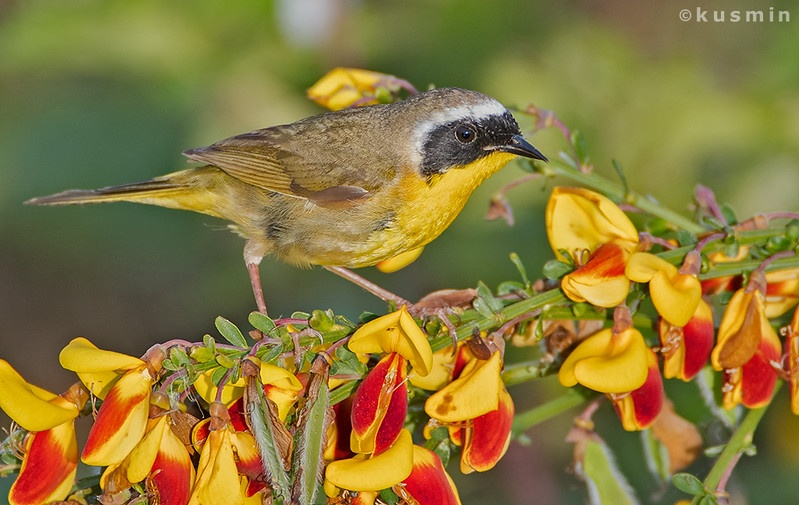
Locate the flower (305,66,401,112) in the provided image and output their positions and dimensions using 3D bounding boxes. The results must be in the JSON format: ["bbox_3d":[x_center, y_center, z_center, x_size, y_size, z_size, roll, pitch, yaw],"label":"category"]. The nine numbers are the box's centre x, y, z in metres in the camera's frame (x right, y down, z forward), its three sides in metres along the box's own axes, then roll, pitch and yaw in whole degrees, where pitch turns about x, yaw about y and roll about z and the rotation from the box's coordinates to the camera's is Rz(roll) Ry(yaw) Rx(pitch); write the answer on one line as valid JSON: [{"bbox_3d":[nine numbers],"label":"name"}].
[{"bbox_3d":[-0.183,-0.627,3.579,0.285,0.094,0.157,5,46,22],"label":"flower"}]

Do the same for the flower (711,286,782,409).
[{"bbox_3d":[1.065,0.324,2.897,0.190,0.431,0.162,-4,31,22],"label":"flower"}]

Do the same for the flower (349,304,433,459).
[{"bbox_3d":[-0.026,0.375,2.829,0.261,0.426,0.132,13,1,15],"label":"flower"}]

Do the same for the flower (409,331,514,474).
[{"bbox_3d":[0.241,0.445,2.881,0.288,0.403,0.232,18,-18,-24],"label":"flower"}]

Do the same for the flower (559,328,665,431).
[{"bbox_3d":[0.639,0.386,2.851,0.283,0.276,0.189,-7,29,15],"label":"flower"}]

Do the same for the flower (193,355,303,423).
[{"bbox_3d":[-0.481,0.378,2.827,0.385,0.115,0.263,16,8,-18],"label":"flower"}]
